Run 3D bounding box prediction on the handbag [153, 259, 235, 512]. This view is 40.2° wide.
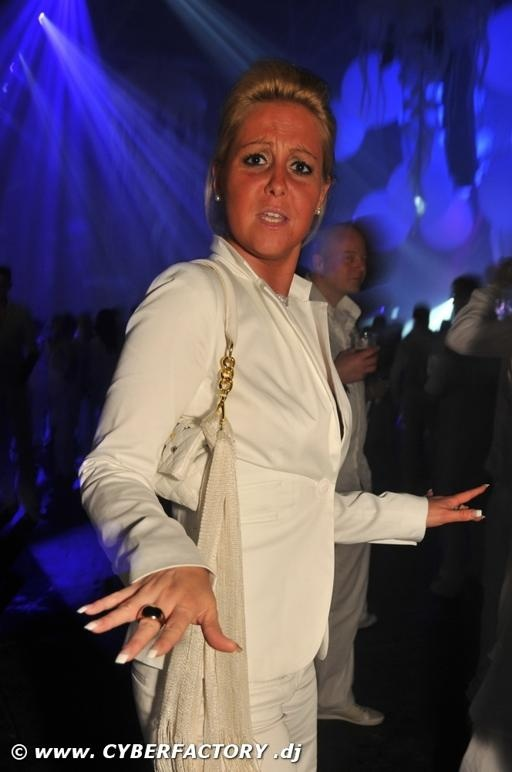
[{"bbox_3d":[-0.093,0.002,1.140,0.108,0.423,0.230,5,6,-3],"label":"handbag"}]

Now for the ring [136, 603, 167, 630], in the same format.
[{"bbox_3d":[-0.109,0.240,0.728,0.018,0.021,0.021,20,-41,-29],"label":"ring"}]

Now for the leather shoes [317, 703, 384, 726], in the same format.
[{"bbox_3d":[0.430,1.474,3.190,0.319,0.116,0.104,-1,3,4],"label":"leather shoes"}]
